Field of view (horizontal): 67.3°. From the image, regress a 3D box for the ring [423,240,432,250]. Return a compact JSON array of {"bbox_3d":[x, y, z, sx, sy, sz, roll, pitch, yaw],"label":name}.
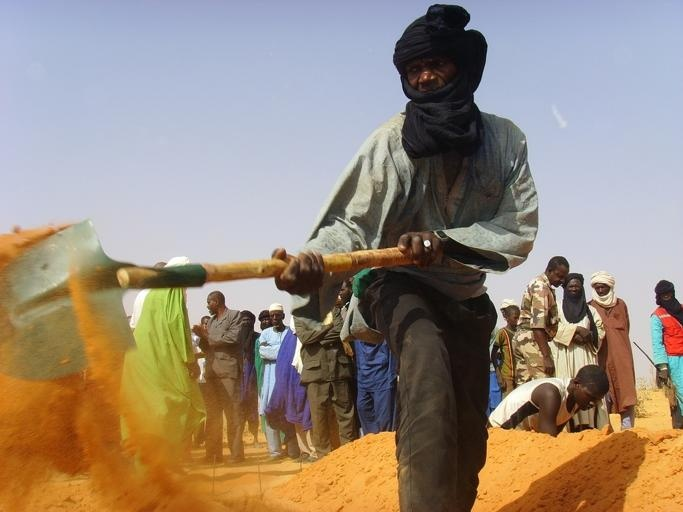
[{"bbox_3d":[0.467,-0.059,2.790,0.043,0.048,0.017,-1,-1,9],"label":"ring"}]
